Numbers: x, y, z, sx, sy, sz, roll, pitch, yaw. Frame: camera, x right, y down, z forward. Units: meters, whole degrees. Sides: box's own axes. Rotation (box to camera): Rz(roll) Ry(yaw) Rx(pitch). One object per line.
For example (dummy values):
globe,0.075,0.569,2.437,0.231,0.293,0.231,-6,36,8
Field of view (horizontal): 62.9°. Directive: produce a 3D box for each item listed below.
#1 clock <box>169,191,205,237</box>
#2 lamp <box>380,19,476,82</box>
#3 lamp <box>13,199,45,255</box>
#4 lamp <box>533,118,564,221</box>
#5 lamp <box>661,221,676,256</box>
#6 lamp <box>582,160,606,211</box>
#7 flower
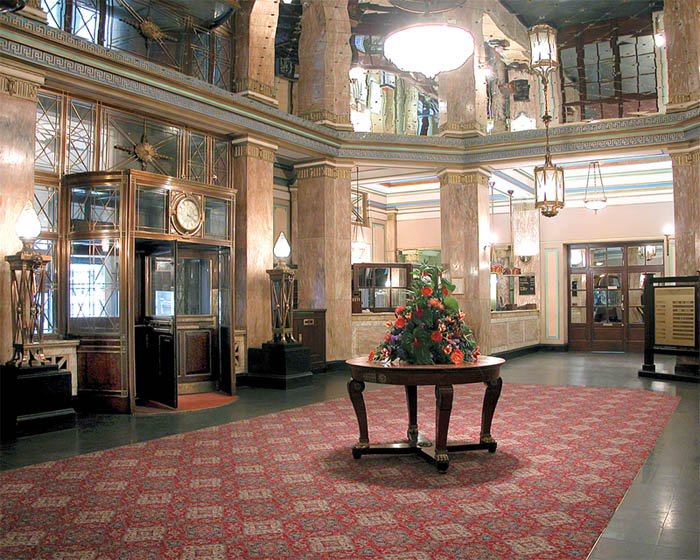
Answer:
clock,-2.298,-0.911,8.046,0.093,0.677,0.693,2,2,27
lamp,0.841,-2.353,6.096,0.928,0.449,0.744,-1,1,-18
lamp,-3.505,-0.545,6.196,0.163,0.599,0.207,0,1,35
lamp,3.410,-1.952,9.708,0.454,1.873,1.794,0,1,20
lamp,8.083,-1.020,14.480,0.256,0.846,0.219,0,1,20
lamp,6.179,-2.250,14.347,0.572,1.112,2.071,0,1,23
flower,0.773,0.344,5.582,0.900,0.946,0.950,-1,-5,4
